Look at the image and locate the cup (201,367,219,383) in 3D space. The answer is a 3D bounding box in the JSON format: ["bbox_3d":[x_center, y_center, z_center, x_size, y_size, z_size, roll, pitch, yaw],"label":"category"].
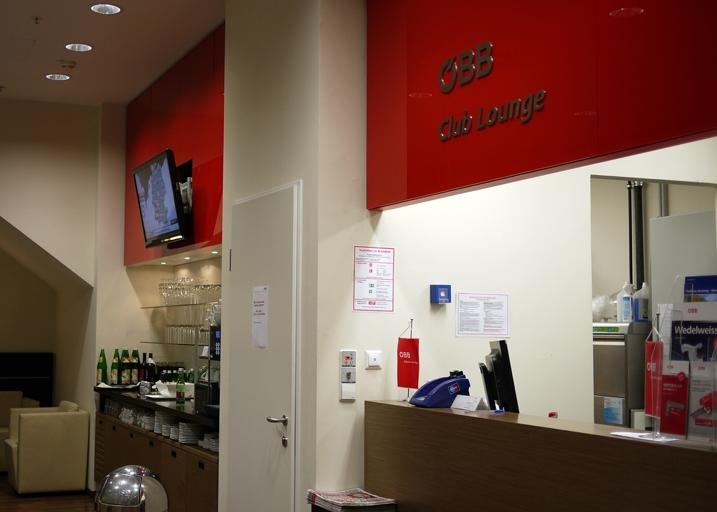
[{"bbox_3d":[-1.308,1.041,4.613,0.165,0.167,0.111,4,-11,3],"label":"cup"}]

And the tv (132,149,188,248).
[{"bbox_3d":[-2.206,-0.608,5.814,0.283,0.984,1.115,6,-11,-38],"label":"tv"}]

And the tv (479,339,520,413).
[{"bbox_3d":[0.777,0.665,2.930,0.206,0.381,0.196,-5,-10,30],"label":"tv"}]

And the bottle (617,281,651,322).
[{"bbox_3d":[2.502,0.420,4.766,0.159,0.462,0.296,5,-4,-40],"label":"bottle"}]

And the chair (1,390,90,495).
[{"bbox_3d":[-4.165,2.450,7.226,0.984,1.282,1.089,4,-9,-17],"label":"chair"}]

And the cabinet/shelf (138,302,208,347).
[{"bbox_3d":[-2.143,0.741,5.976,0.335,0.530,2.670,4,-11,-28],"label":"cabinet/shelf"}]

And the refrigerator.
[{"bbox_3d":[2.192,0.972,4.359,0.491,0.853,0.280,-3,-9,19],"label":"refrigerator"}]

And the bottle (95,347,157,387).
[{"bbox_3d":[-2.992,1.432,6.770,0.792,0.470,0.417,2,-9,-13],"label":"bottle"}]

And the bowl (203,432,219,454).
[{"bbox_3d":[-1.254,1.572,4.452,0.115,0.064,0.158,4,-4,-13],"label":"bowl"}]
